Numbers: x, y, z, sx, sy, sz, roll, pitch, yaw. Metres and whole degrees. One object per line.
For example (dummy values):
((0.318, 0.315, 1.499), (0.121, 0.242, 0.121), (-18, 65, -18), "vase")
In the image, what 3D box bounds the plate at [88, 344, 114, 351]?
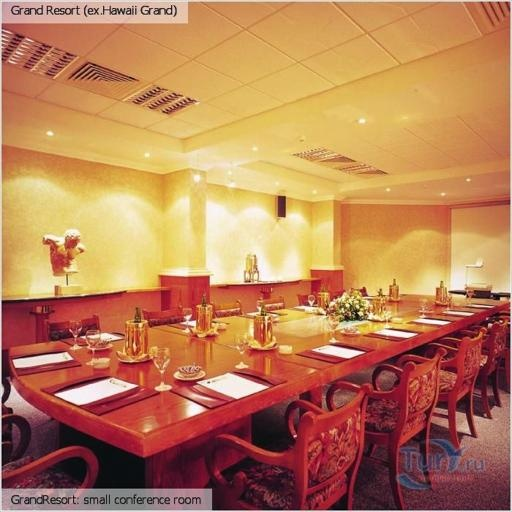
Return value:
((-1.030, 0.606, 2.720), (0.096, 0.013, 0.099), (-3, -4, 43), "plate")

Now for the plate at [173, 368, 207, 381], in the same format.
((-0.359, 0.629, 2.197), (0.175, 0.041, 0.194), (-1, -3, -8), "plate")

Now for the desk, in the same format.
((0.192, 0.950, 2.924), (3.177, 0.792, 1.268), (1, -4, -44), "desk")
